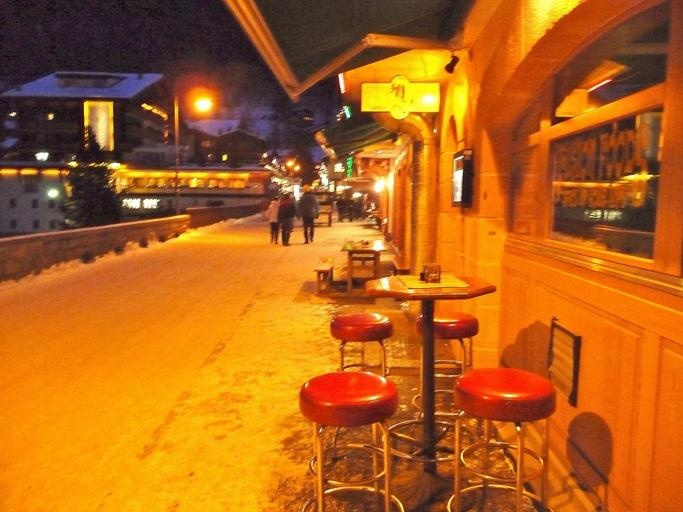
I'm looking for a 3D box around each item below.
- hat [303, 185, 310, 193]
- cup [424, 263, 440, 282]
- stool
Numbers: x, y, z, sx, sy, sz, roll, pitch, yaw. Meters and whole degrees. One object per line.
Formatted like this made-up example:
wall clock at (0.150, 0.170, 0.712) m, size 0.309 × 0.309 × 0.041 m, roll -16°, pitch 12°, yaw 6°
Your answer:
hat at (-1.166, -2.275, 18.538) m, size 0.074 × 0.219 × 0.270 m, roll 29°, pitch 0°, yaw 24°
cup at (0.702, 0.131, 4.346) m, size 0.150 × 0.126 × 0.141 m, roll 0°, pitch 10°, yaw 0°
stool at (0.715, 0.926, 3.895) m, size 1.606 × 0.764 × 1.390 m, roll -1°, pitch 7°, yaw -8°
